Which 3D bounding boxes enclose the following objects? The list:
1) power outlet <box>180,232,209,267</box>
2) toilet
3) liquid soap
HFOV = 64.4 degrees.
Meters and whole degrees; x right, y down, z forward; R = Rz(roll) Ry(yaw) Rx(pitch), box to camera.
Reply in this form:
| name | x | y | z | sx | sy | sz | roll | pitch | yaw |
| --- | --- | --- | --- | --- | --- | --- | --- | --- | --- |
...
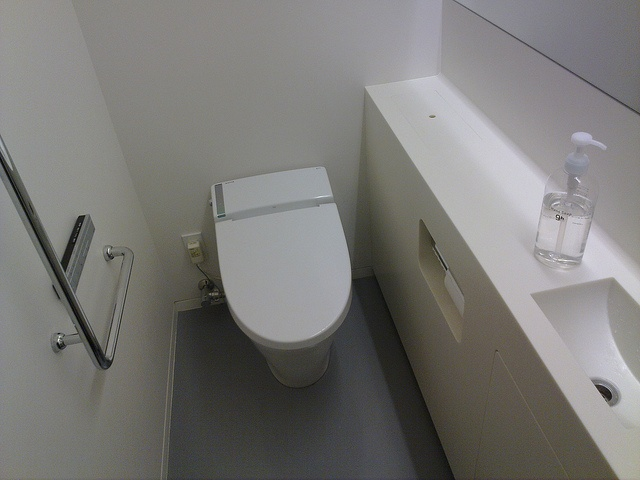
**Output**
| name | x | y | z | sx | sy | sz | roll | pitch | yaw |
| --- | --- | --- | --- | --- | --- | --- | --- | --- | --- |
| power outlet | -0.529 | 0.050 | 2.153 | 0.074 | 0.145 | 0.016 | -10 | 32 | -10 |
| toilet | -0.125 | 0.185 | 2.029 | 0.465 | 0.560 | 0.749 | -12 | 50 | -9 |
| liquid soap | 0.610 | -0.100 | 1.249 | 0.122 | 0.331 | 0.108 | 11 | 30 | 29 |
